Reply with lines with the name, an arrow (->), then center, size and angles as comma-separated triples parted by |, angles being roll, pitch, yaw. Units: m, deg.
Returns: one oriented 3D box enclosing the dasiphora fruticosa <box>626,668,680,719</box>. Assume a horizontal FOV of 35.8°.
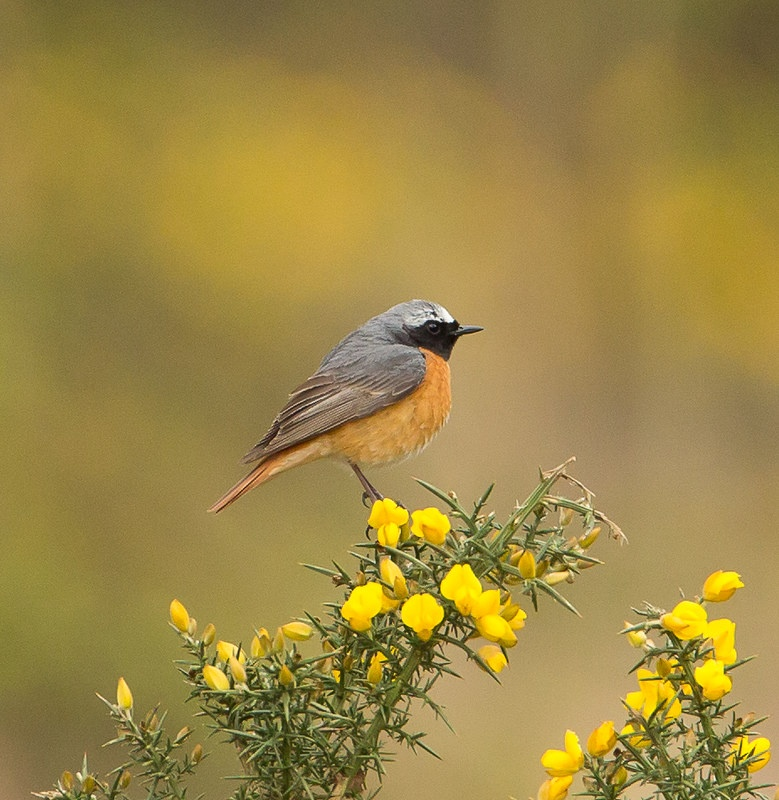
dasiphora fruticosa -> 0.562, 0.623, 2.537 | 0.111, 0.113, 0.065 | -7, -29, 4
